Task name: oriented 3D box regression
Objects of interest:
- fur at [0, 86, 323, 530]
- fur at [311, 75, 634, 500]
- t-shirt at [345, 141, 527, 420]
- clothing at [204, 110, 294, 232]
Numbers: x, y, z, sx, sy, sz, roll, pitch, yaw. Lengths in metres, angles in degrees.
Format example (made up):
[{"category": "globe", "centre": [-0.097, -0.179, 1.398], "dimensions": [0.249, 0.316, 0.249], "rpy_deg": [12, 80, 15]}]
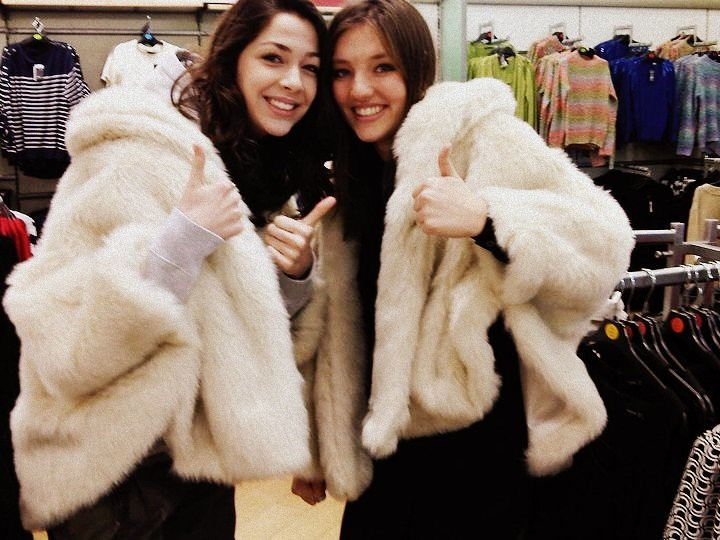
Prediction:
[{"category": "fur", "centre": [-0.527, -0.037, 2.435], "dimensions": [1.011, 1.601, 1.192], "rpy_deg": [-4, 3, 27]}, {"category": "fur", "centre": [0.299, 0.080, 2.039], "dimensions": [1.015, 1.326, 0.531], "rpy_deg": [4, 14, 22]}, {"category": "t-shirt", "centre": [0.113, 0.023, 2.169], "dimensions": [0.490, 0.899, 0.206], "rpy_deg": [-2, -1, 11]}, {"category": "clothing", "centre": [-0.360, -0.357, 2.263], "dimensions": [0.130, 0.362, 0.286], "rpy_deg": [-25, 24, 25]}]
